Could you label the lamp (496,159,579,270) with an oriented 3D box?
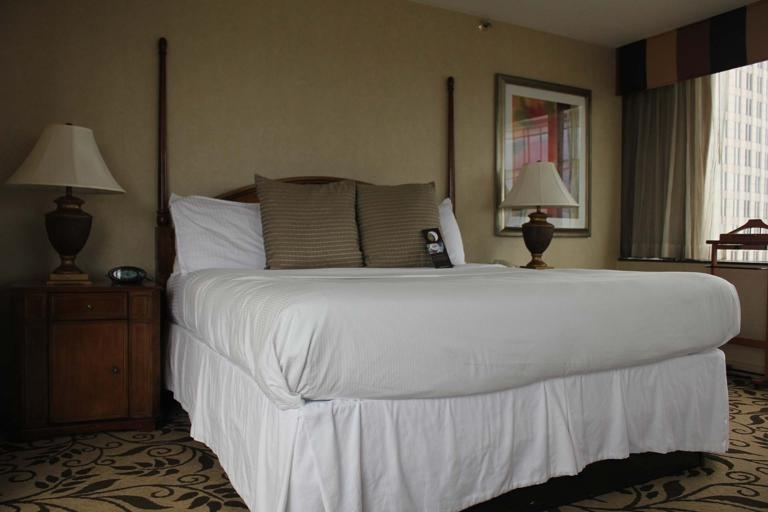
[{"bbox_3d":[1.361,-0.338,5.846,0.810,1.128,0.814,-1,-1,-12],"label":"lamp"}]
